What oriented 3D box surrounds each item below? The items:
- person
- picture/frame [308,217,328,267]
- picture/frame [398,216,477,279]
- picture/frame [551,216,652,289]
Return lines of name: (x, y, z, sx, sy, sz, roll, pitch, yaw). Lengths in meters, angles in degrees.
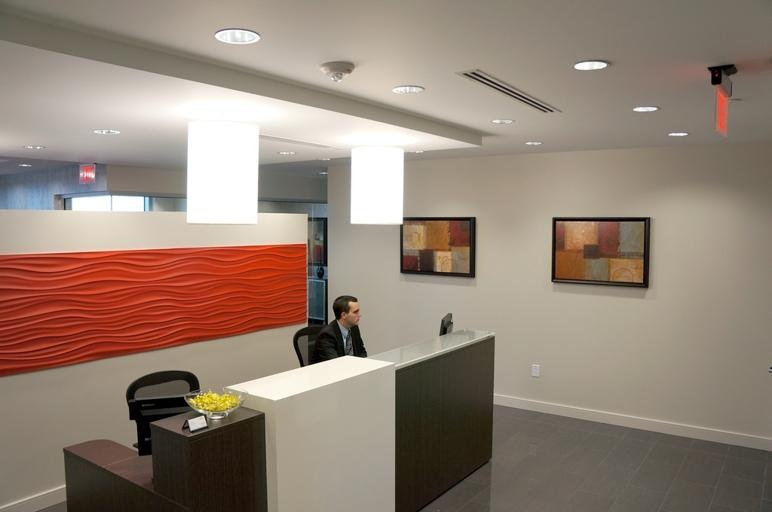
person: (-0.484, 0.765, 5.387, 0.378, 0.665, 0.814, 3, 9, 20)
picture/frame: (-1.329, -0.283, 10.210, 0.345, 0.929, 0.528, -2, 9, -14)
picture/frame: (0.745, -0.144, 7.825, 1.176, 0.890, 0.051, 1, 2, 28)
picture/frame: (2.817, -0.059, 6.757, 0.942, 0.749, 0.042, 1, 3, 32)
